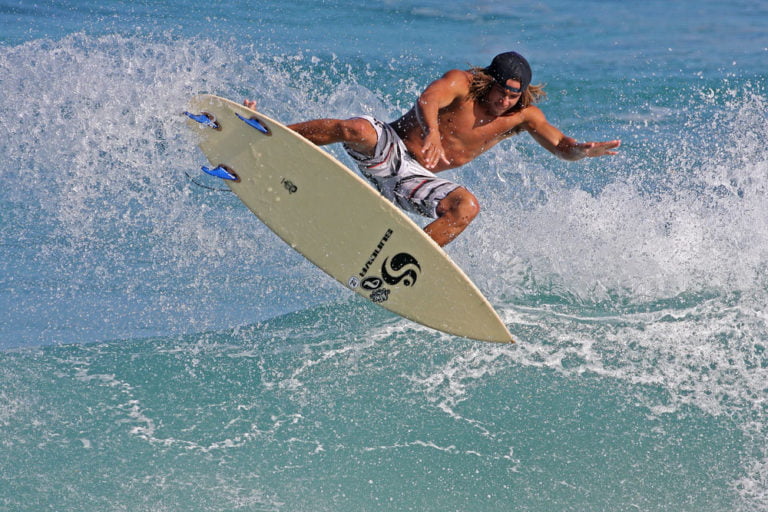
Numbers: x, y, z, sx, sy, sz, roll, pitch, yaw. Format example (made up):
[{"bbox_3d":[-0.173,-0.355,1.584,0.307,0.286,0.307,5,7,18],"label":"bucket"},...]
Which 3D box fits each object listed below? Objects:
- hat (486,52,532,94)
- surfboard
[{"bbox_3d":[1.458,-2.184,12.065,0.515,0.383,0.670,8,12,-16],"label":"hat"},{"bbox_3d":[-0.572,-0.347,12.530,5.004,1.139,0.561,32,12,-5],"label":"surfboard"}]
